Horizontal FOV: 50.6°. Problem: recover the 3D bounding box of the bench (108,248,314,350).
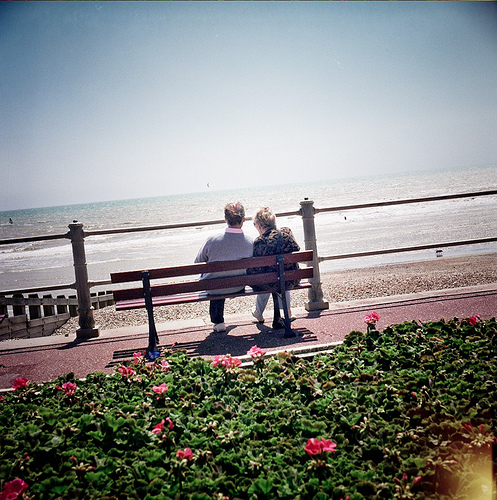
[{"bbox_3d":[-0.311,0.462,5.282,1.941,0.931,1.186,-5,12,-10],"label":"bench"}]
